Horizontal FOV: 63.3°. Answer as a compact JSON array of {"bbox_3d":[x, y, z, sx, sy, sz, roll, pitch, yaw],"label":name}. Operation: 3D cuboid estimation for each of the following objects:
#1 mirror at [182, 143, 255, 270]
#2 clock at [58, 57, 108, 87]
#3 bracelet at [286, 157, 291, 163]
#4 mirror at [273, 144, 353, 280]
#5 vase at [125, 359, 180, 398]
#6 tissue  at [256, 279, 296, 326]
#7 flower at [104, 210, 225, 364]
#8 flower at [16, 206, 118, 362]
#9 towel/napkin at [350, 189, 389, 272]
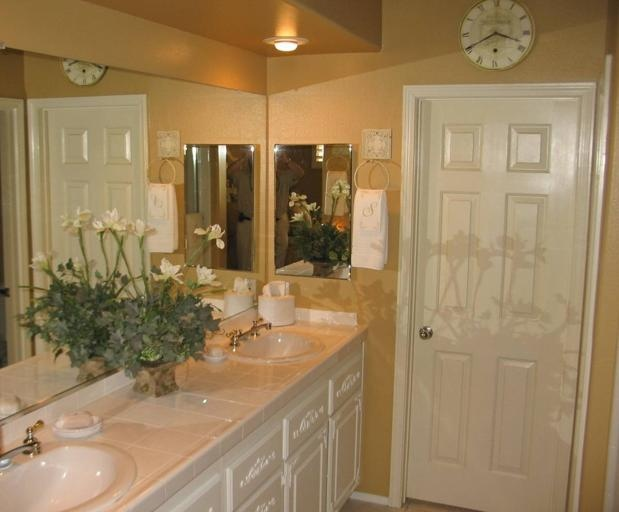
[{"bbox_3d":[-0.497,-0.266,2.632,0.036,0.939,0.648,1,3,29],"label":"mirror"},{"bbox_3d":[-0.817,-0.659,1.821,0.034,0.090,0.190,8,11,15],"label":"clock"},{"bbox_3d":[-0.129,-0.566,2.964,0.022,0.033,0.009,9,7,31],"label":"bracelet"},{"bbox_3d":[0.008,-0.255,2.940,0.485,0.847,0.033,2,-12,-1],"label":"mirror"},{"bbox_3d":[-0.601,0.471,1.953,0.163,0.113,0.181,3,1,-17],"label":"vase"},{"bbox_3d":[-0.204,0.266,2.895,0.204,0.255,0.218,0,0,22],"label":"tissue "},{"bbox_3d":[-0.596,0.131,1.938,0.385,0.594,0.378,-1,12,14],"label":"flower"},{"bbox_3d":[-0.838,0.122,1.798,0.108,0.554,0.418,10,12,26],"label":"flower"},{"bbox_3d":[0.328,-0.143,2.765,0.190,0.435,0.107,4,10,20],"label":"towel/napkin"}]
